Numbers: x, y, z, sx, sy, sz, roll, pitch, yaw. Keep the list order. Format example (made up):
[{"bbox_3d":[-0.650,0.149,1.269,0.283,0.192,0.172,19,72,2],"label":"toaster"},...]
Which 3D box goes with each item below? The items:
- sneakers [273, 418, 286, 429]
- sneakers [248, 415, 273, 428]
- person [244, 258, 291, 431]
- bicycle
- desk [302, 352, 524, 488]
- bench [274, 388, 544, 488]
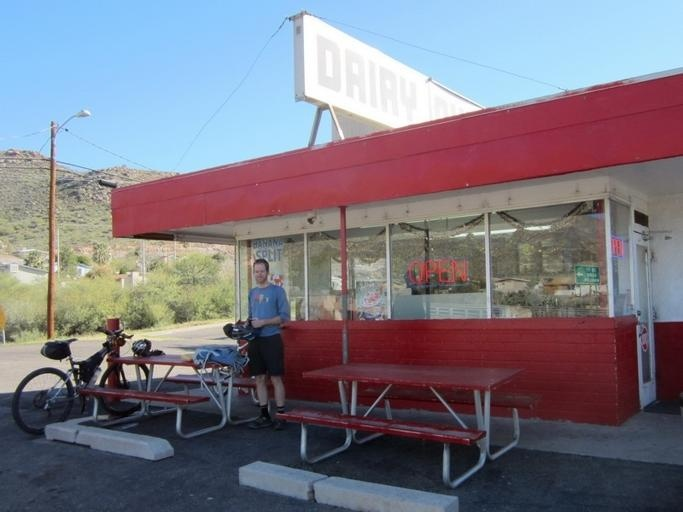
[{"bbox_3d":[-0.829,2.284,8.170,0.171,0.177,0.461,3,-12,-5],"label":"sneakers"},{"bbox_3d":[-1.085,2.291,8.200,0.137,0.123,0.362,-8,-12,42],"label":"sneakers"},{"bbox_3d":[-0.987,1.195,8.152,0.668,2.289,0.514,-1,3,33],"label":"person"},{"bbox_3d":[-3.840,1.877,8.937,1.089,1.211,2.255,-10,-9,29],"label":"bicycle"},{"bbox_3d":[1.036,1.632,6.631,1.668,0.680,1.446,-5,-9,36],"label":"desk"},{"bbox_3d":[0.680,2.011,6.724,2.123,0.623,1.416,-1,3,30],"label":"bench"}]
